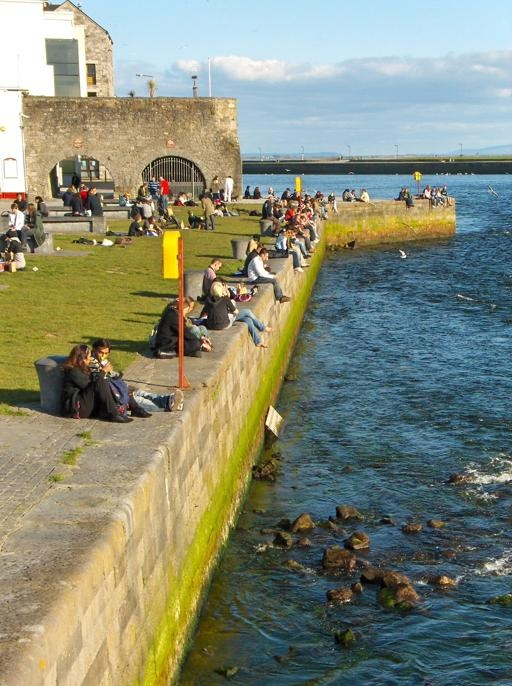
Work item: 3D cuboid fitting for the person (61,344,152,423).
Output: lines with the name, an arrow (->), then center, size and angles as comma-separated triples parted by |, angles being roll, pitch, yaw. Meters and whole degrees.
person -> -1.811, 0.442, 12.350 | 0.875, 0.846, 0.437 | 8, 16, 36

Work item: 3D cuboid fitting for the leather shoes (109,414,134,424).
leather shoes -> -1.492, 0.834, 12.191 | 0.263, 0.106, 0.083 | 1, 27, 5

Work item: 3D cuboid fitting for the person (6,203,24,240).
person -> -6.008, -3.082, 27.416 | 0.456, 0.943, 1.938 | -4, 13, -12

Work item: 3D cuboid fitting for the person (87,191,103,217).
person -> -5.367, -4.673, 36.547 | 0.412, 0.757, 1.086 | -4, 13, -10

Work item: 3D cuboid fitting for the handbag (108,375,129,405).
handbag -> -1.537, 0.549, 12.338 | 0.211, 0.326, 0.249 | -3, 13, -8

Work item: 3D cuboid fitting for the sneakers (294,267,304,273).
sneakers -> 1.131, -1.969, 29.061 | 0.099, 0.117, 0.282 | -13, 11, -34

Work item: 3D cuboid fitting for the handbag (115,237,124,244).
handbag -> -3.927, -2.978, 31.701 | 0.253, 0.219, 0.168 | 3, 19, -4

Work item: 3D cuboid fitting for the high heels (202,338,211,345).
high heels -> -0.667, -0.030, 15.751 | 0.101, 0.092, 0.194 | 8, 6, 18

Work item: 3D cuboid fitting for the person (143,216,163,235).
person -> -3.298, -3.762, 35.027 | 0.474, 0.694, 0.714 | -3, 15, 1

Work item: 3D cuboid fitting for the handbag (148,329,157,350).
handbag -> -1.513, -0.056, 16.137 | 0.151, 0.271, 0.214 | 9, 28, 1

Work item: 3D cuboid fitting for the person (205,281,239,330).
person -> -0.563, -0.707, 17.979 | 0.566, 0.791, 0.792 | 3, 24, 11

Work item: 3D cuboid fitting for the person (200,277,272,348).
person -> -0.278, -0.466, 18.109 | 1.051, 1.023, 0.469 | 2, -10, -24

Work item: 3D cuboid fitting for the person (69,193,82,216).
person -> -5.933, -4.605, 36.228 | 0.379, 0.633, 1.176 | -4, 12, -9

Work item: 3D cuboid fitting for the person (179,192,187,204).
person -> -3.094, -6.186, 46.771 | 0.295, 0.522, 0.746 | -2, 12, -1

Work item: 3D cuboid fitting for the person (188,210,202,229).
person -> -2.095, -4.361, 38.595 | 0.708, 0.215, 0.816 | 0, -25, 6

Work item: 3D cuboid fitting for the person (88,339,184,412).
person -> -1.415, 0.379, 12.602 | 1.172, 0.746, 0.483 | 12, 10, -3

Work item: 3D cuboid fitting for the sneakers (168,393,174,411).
sneakers -> -0.957, 0.667, 12.439 | 0.080, 0.184, 0.063 | 4, -1, -16

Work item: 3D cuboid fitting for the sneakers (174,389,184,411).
sneakers -> -0.851, 0.644, 12.397 | 0.089, 0.246, 0.116 | 4, 3, -25

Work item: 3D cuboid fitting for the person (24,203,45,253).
person -> -5.819, -3.019, 28.414 | 0.708, 1.232, 0.623 | -2, 10, -17

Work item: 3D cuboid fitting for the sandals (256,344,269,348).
sandals -> 0.108, 0.031, 19.026 | 0.101, 0.066, 0.221 | 4, -3, -18
